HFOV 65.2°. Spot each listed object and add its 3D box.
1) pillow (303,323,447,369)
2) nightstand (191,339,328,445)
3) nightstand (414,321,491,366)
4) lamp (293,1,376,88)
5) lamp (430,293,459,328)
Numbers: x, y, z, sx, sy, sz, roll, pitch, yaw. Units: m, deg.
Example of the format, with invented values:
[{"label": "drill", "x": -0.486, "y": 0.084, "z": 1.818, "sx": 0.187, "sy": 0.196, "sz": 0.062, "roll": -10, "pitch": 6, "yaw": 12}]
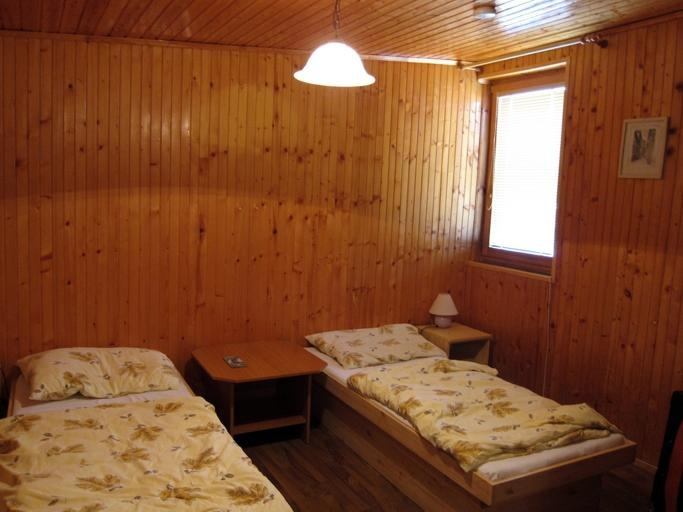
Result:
[{"label": "pillow", "x": 0.334, "y": 0.781, "z": 4.668, "sx": 0.781, "sy": 0.127, "sz": 0.471, "roll": -4, "pitch": 16, "yaw": -23}, {"label": "nightstand", "x": -0.626, "y": 0.911, "z": 4.227, "sx": 0.822, "sy": 0.505, "sz": 0.858, "roll": -1, "pitch": 3, "yaw": -29}, {"label": "nightstand", "x": 1.106, "y": 0.916, "z": 5.199, "sx": 0.571, "sy": 0.424, "sz": 0.571, "roll": -1, "pitch": 10, "yaw": -7}, {"label": "lamp", "x": -0.032, "y": -1.132, "z": 3.124, "sx": 0.451, "sy": 0.246, "sz": 0.106, "roll": 3, "pitch": 14, "yaw": 3}, {"label": "lamp", "x": 1.008, "y": 0.527, "z": 5.260, "sx": 0.287, "sy": 0.326, "sz": 0.287, "roll": 3, "pitch": 1, "yaw": 29}]
